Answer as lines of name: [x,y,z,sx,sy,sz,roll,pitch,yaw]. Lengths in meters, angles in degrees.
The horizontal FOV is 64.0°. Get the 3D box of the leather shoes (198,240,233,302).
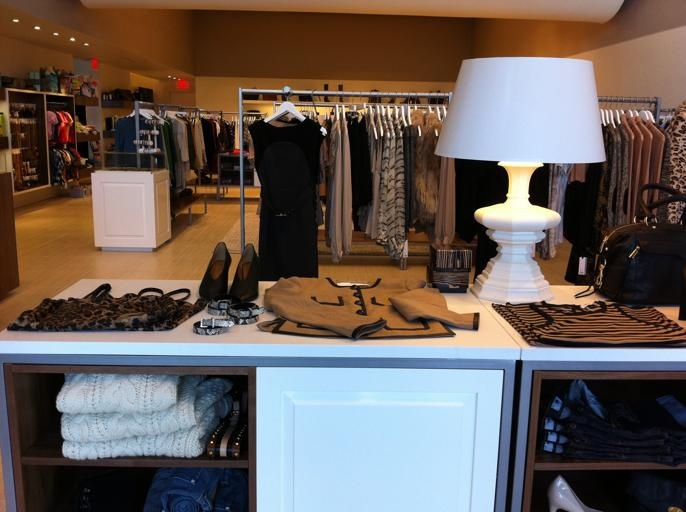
leather shoes: [-0.489,0.066,2.139,0.092,0.116,0.287,2,36,1]

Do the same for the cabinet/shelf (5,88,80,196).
cabinet/shelf: [-4.952,-1.904,8.905,0.375,1.520,2.127,-1,14,-2]

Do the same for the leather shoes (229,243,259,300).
leather shoes: [-0.387,0.077,2.168,0.097,0.115,0.319,1,27,-1]

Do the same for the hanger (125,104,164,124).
hanger: [-2.429,-1.745,6.796,0.303,0.167,0.422,1,10,-14]

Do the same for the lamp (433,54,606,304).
lamp: [0.703,-0.296,2.200,0.602,0.947,0.653,0,13,3]
